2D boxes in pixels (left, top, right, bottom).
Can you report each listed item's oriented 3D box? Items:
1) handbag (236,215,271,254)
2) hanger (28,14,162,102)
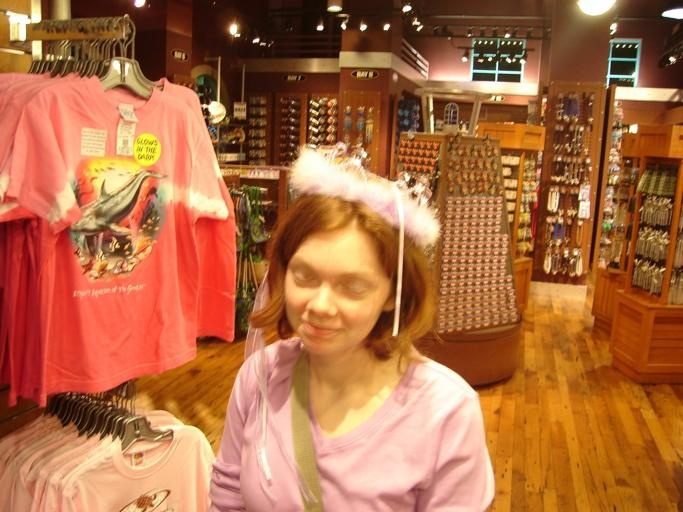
[{"bbox_3d":[-0.965,-0.231,5.102,0.271,0.435,0.135,-1,11,-34],"label":"handbag"},{"bbox_3d":[-1.154,-0.912,2.166,0.567,0.362,0.378,8,12,27],"label":"hanger"}]
